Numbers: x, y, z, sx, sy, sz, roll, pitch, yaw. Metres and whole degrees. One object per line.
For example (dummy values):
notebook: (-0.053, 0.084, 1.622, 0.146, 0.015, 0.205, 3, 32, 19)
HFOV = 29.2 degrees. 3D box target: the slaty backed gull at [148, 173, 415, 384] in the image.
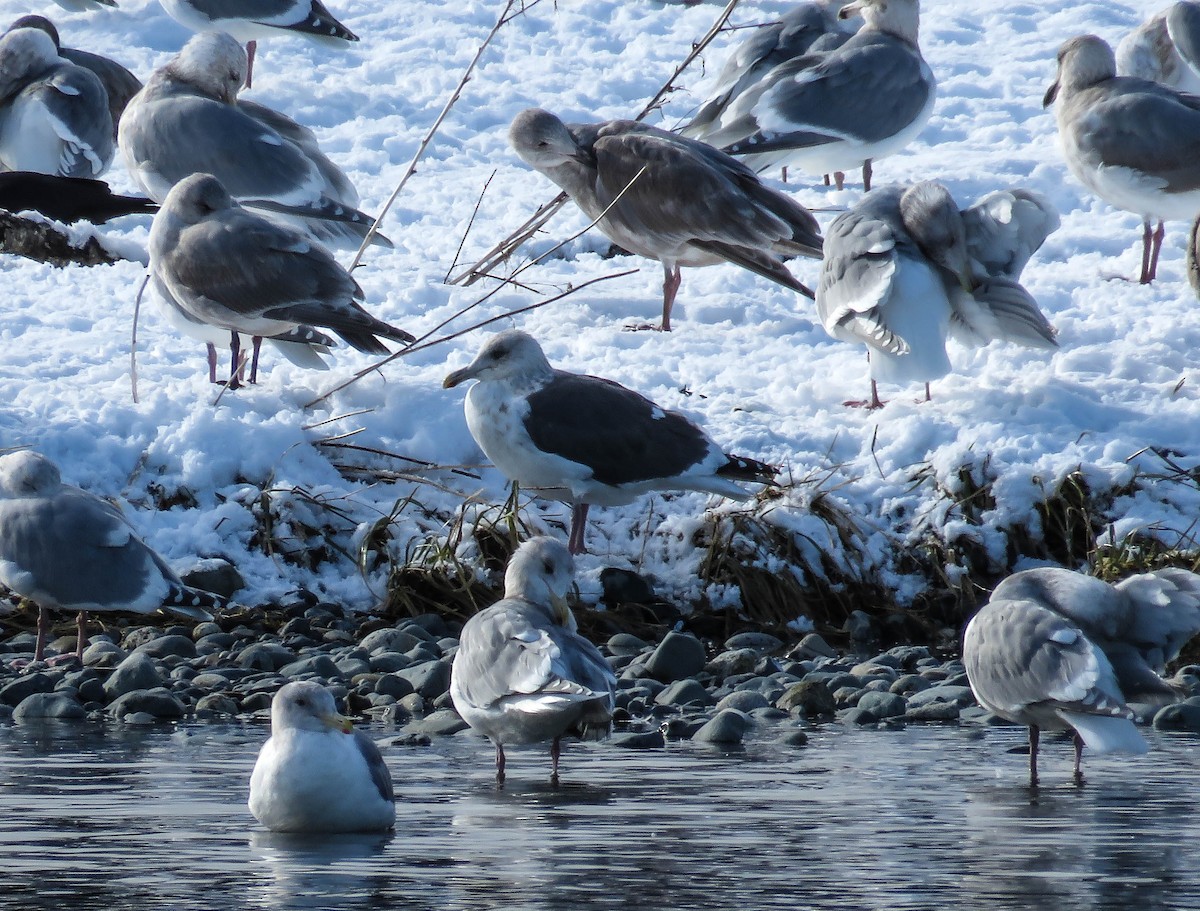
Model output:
slaty backed gull: (-2.066, -1.099, 14.225, 1.437, 1.331, 0.611, -1, -2, -4)

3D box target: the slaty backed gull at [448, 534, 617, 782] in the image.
slaty backed gull: (-0.294, 0.909, 10.291, 0.706, 1.090, 0.909, -1, -2, -7)

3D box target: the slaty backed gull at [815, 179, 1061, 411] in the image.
slaty backed gull: (2.120, -1.098, 14.358, 1.363, 1.263, 0.705, -1, -2, -12)

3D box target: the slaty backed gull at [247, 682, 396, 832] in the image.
slaty backed gull: (-1.160, 1.298, 9.646, 0.575, 0.474, 0.725, -2, -17, -2)
